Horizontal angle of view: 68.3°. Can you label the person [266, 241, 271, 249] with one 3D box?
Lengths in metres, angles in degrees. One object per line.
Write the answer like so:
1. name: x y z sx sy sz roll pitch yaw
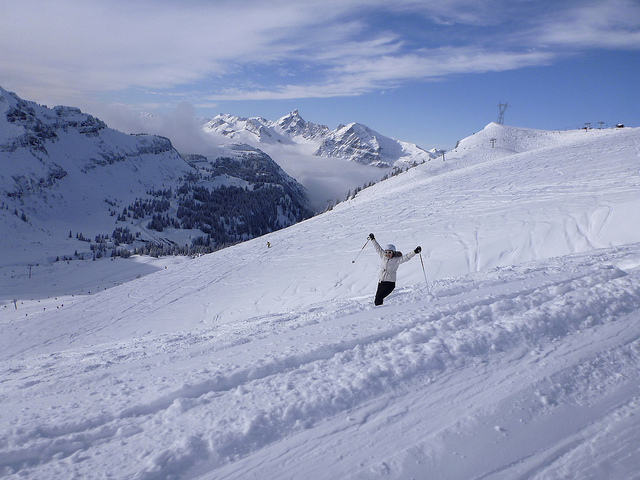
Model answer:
1. person: -4.906 0.521 46.333 0.437 0.628 0.746 5 -1 2
